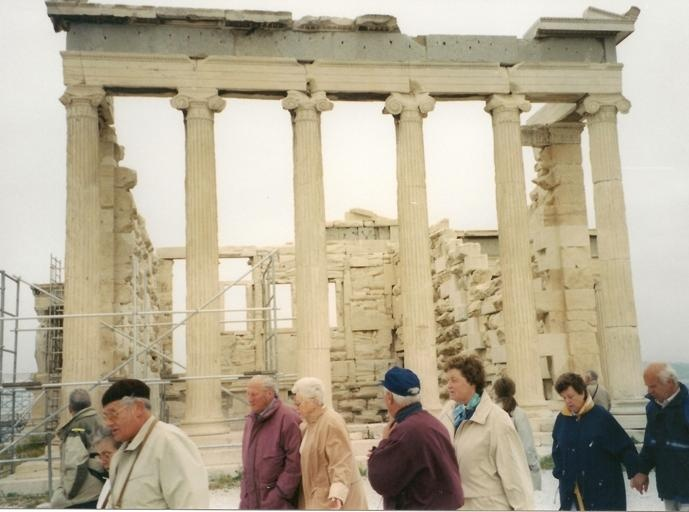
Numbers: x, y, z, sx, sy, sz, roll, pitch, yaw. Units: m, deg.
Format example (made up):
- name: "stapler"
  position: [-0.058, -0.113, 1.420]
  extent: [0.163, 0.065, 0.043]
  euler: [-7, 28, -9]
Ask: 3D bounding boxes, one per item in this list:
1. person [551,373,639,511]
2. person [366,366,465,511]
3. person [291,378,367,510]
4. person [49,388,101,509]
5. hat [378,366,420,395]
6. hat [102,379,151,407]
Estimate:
- name: "person"
  position: [3.236, 2.358, 12.773]
  extent: [0.952, 1.724, 0.319]
  euler: [-5, -10, 14]
- name: "person"
  position: [0.815, 2.103, 11.614]
  extent: [1.084, 1.655, 0.344]
  euler: [-3, -10, 1]
- name: "person"
  position: [-0.198, 2.340, 12.521]
  extent: [0.850, 1.645, 0.499]
  euler: [-4, -10, 8]
- name: "person"
  position: [-3.488, 2.614, 12.937]
  extent: [0.649, 1.272, 0.459]
  euler: [-1, -10, -12]
- name: "hat"
  position: [0.667, 1.461, 11.733]
  extent: [0.304, 0.210, 0.401]
  euler: [-11, 25, -40]
- name: "hat"
  position: [-2.518, 1.544, 11.346]
  extent: [0.429, 0.241, 0.331]
  euler: [-4, -8, 26]
